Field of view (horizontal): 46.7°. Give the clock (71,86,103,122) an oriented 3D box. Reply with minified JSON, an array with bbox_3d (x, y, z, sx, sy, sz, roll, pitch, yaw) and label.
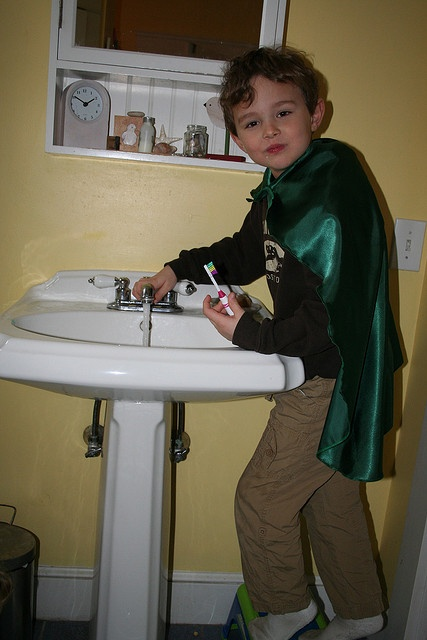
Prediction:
[{"bbox_3d":[-0.262,-0.451,1.023,0.073,0.072,0.006,-1,13,2],"label":"clock"}]

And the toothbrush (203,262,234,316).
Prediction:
[{"bbox_3d":[0.009,-0.061,0.922,0.024,0.113,0.018,-28,0,26],"label":"toothbrush"}]
